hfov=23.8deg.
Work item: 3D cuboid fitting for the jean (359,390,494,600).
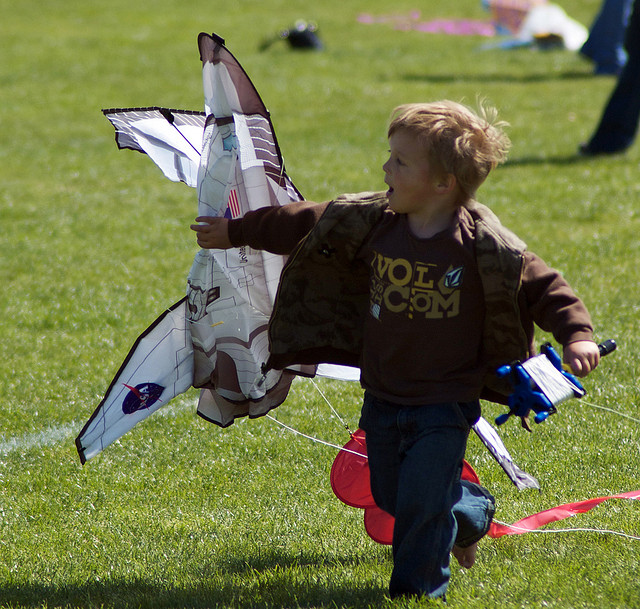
[{"bbox_3d":[0.613,1.013,8.433,0.840,1.341,0.706,6,-2,-20],"label":"jean"}]
